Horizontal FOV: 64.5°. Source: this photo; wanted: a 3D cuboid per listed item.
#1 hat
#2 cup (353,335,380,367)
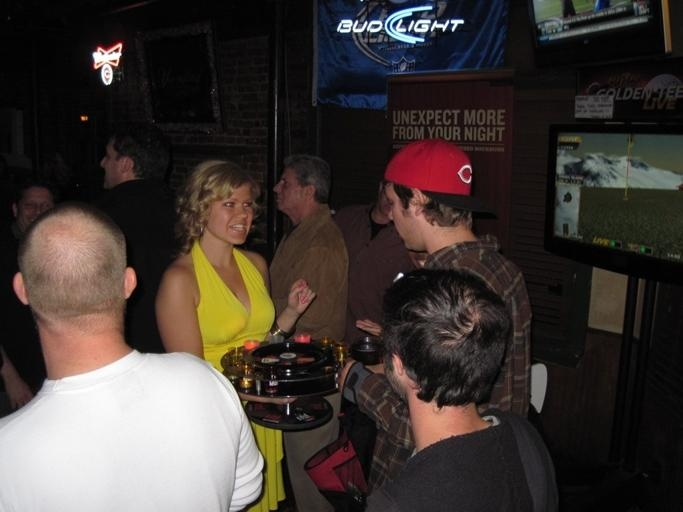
[{"bbox_3d":[0.483,-0.416,2.772,0.506,0.267,0.336,24,11,13],"label":"hat"},{"bbox_3d":[0.138,0.551,3.109,0.173,0.136,0.213,-2,9,-3],"label":"cup"}]
